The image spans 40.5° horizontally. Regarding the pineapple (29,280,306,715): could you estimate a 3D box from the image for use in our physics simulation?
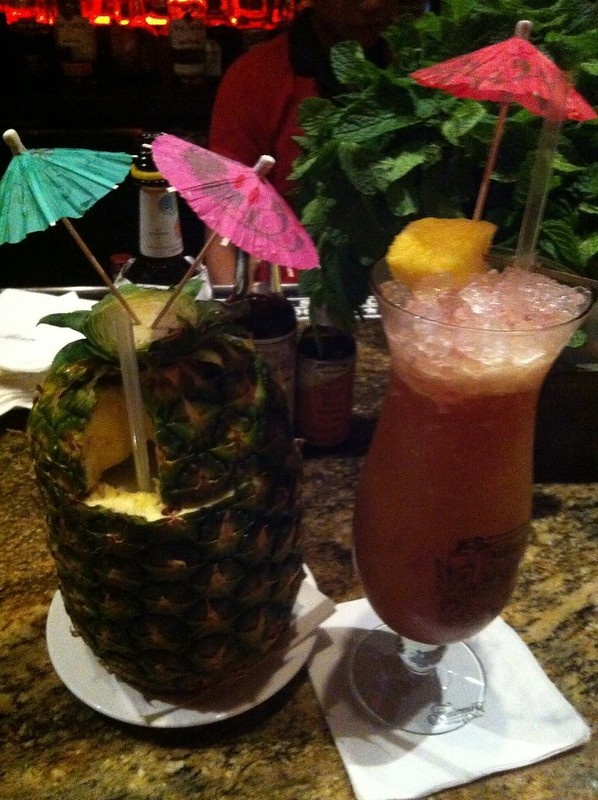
[{"bbox_3d":[-0.108,0.091,0.733,0.237,0.367,0.196,-8,33,-18],"label":"pineapple"}]

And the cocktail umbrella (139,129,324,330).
[{"bbox_3d":[-0.051,-0.151,0.630,0.137,0.088,0.109,6,29,5],"label":"cocktail umbrella"}]

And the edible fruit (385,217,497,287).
[{"bbox_3d":[0.127,-0.131,0.754,0.097,0.024,0.062,-20,54,-18],"label":"edible fruit"}]

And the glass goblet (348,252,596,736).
[{"bbox_3d":[0.145,0.099,0.786,0.200,0.438,0.253,6,32,4],"label":"glass goblet"}]
